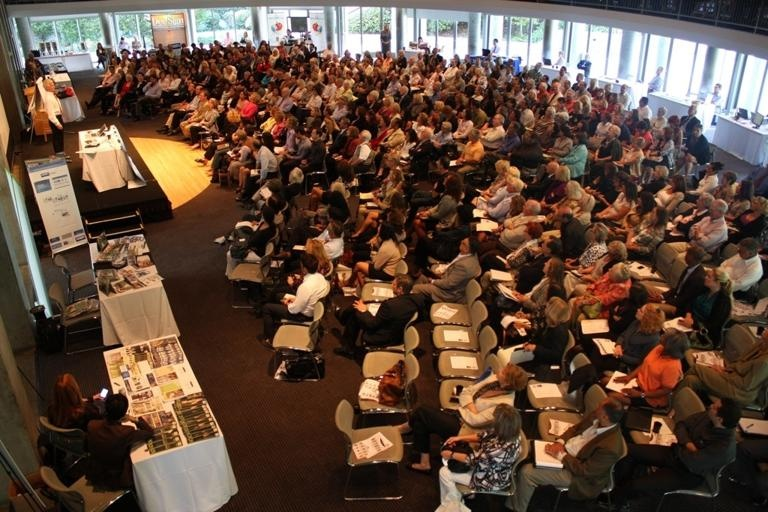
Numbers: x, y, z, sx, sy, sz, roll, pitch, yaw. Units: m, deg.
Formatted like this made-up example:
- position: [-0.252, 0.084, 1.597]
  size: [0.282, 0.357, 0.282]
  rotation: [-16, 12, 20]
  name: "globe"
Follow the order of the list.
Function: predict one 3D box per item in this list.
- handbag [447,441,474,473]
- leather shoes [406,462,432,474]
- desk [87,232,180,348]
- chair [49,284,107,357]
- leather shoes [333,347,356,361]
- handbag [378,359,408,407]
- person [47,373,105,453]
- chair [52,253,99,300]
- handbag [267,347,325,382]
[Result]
- position: [0.905, 2.384, 6.050]
  size: [0.292, 0.116, 0.294]
  rotation: [-13, 48, 45]
  name: "handbag"
- position: [0.468, 2.782, 6.728]
  size: [0.374, 0.146, 0.124]
  rotation: [9, 43, 10]
  name: "leather shoes"
- position: [-4.466, 0.443, 8.997]
  size: [1.241, 0.837, 2.284]
  rotation: [-15, 45, -19]
  name: "desk"
- position: [-5.253, 1.146, 8.667]
  size: [0.701, 0.967, 0.619]
  rotation: [-8, 59, -16]
  name: "chair"
- position: [-0.657, 1.583, 8.318]
  size: [0.333, 0.133, 0.154]
  rotation: [19, 24, -1]
  name: "leather shoes"
- position: [0.111, 1.717, 6.888]
  size: [0.371, 0.182, 0.500]
  rotation: [-1, 69, 8]
  name: "handbag"
- position: [-3.977, 1.859, 6.564]
  size: [0.500, 0.746, 0.738]
  rotation: [9, 15, 8]
  name: "person"
- position: [-5.865, 0.422, 9.613]
  size: [0.519, 0.683, 0.407]
  rotation: [-16, 58, -14]
  name: "chair"
- position: [-1.409, 1.756, 8.101]
  size: [0.593, 0.362, 0.589]
  rotation: [0, 20, -11]
  name: "handbag"
